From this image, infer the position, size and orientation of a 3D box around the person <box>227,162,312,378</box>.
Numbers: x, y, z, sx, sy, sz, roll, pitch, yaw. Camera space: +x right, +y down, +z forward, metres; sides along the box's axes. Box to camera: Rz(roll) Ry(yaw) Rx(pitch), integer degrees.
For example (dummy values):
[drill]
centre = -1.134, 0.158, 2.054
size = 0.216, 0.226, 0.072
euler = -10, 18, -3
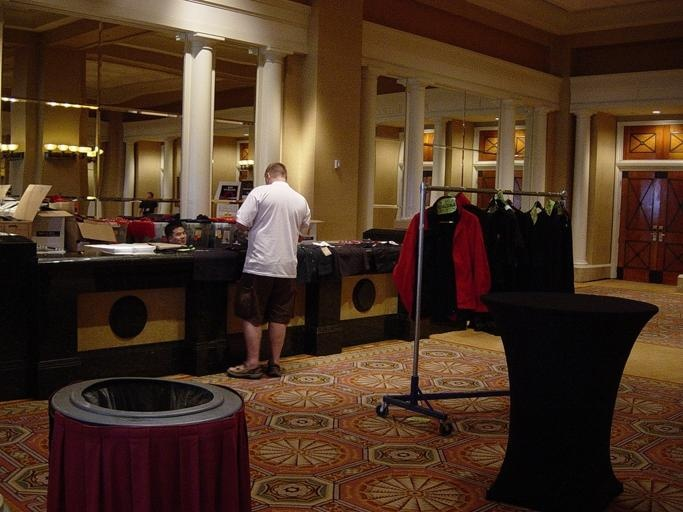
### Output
[person]
centre = -0.656, 0.142, 4.789
size = 0.696, 1.927, 0.324
euler = 1, 3, -17

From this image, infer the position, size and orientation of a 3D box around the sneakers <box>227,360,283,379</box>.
[sneakers]
centre = -0.793, 1.017, 4.847
size = 0.469, 0.148, 0.183
euler = 3, -3, -14
